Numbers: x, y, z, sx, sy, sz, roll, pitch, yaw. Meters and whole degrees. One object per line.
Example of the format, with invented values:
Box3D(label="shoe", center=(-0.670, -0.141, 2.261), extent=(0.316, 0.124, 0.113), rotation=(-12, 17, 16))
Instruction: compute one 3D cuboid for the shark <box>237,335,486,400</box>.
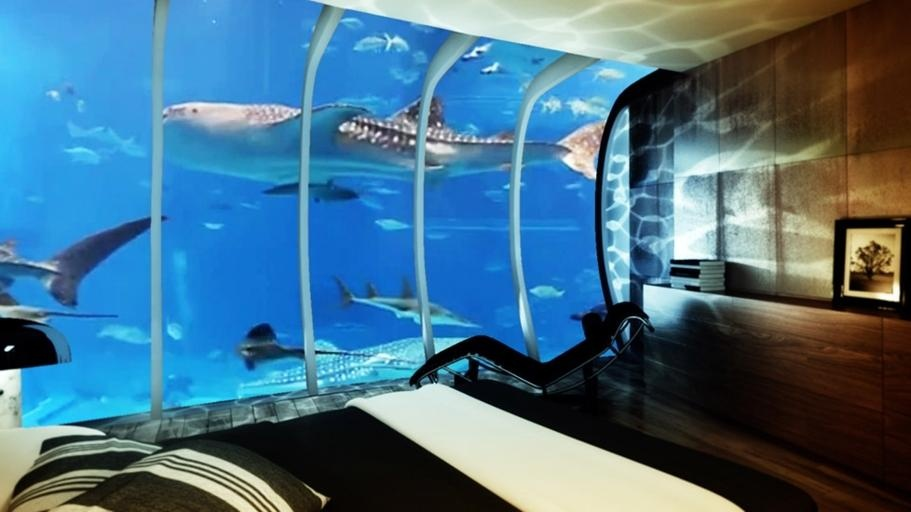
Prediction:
Box3D(label="shark", center=(-2.092, 2.731, 13.025), extent=(5.328, 1.027, 1.304), rotation=(0, -5, -37))

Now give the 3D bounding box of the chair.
Box3D(label="chair", center=(1.043, 1.423, 9.108), extent=(2.029, 1.076, 0.834), rotation=(10, 49, 6))

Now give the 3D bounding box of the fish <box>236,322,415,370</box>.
Box3D(label="fish", center=(-3.198, 1.863, 12.398), extent=(2.722, 1.005, 0.160), rotation=(-4, 3, -21))

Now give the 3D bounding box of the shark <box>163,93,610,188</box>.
Box3D(label="shark", center=(-1.683, -2.346, 13.592), extent=(9.996, 1.961, 3.002), rotation=(0, 0, -15))

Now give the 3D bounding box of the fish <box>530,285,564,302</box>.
Box3D(label="fish", center=(2.304, 0.908, 14.085), extent=(1.071, 0.458, 0.273), rotation=(4, 7, -5))

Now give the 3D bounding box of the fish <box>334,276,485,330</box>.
Box3D(label="fish", center=(-1.063, 1.156, 13.473), extent=(3.455, 1.018, 0.990), rotation=(8, -2, -11))
